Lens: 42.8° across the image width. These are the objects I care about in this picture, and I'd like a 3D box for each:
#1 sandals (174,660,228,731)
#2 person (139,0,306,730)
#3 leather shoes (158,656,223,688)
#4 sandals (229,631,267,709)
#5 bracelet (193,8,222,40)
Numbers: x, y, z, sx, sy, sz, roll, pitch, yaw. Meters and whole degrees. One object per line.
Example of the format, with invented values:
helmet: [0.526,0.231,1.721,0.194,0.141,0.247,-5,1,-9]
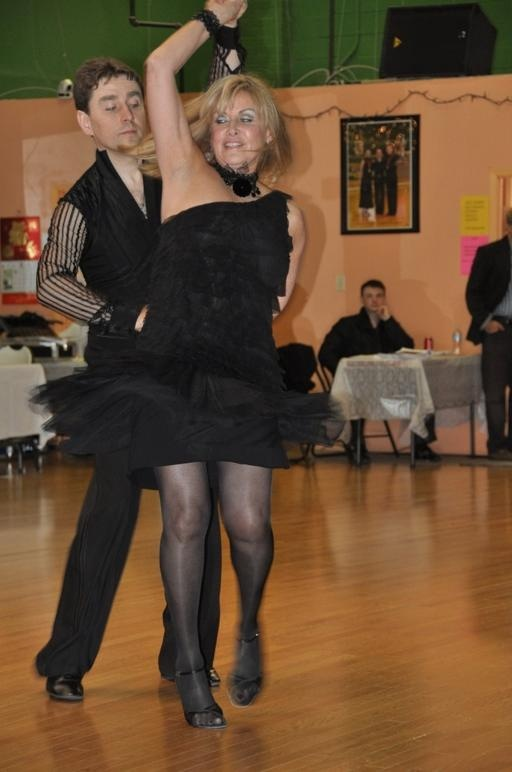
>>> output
sandals: [-0.115,0.578,1.278,0.063,0.074,0.176,-6,16,-18]
person: [-0.057,-0.046,1.302,0.258,1.408,0.482,-1,0,14]
leather shoes: [-0.170,0.672,1.608,0.073,0.077,0.200,0,-7,-36]
sandals: [-0.017,0.618,1.424,0.064,0.116,0.173,1,4,9]
bracelet: [-0.097,-0.690,1.233,0.038,0.058,0.055,-1,0,16]
